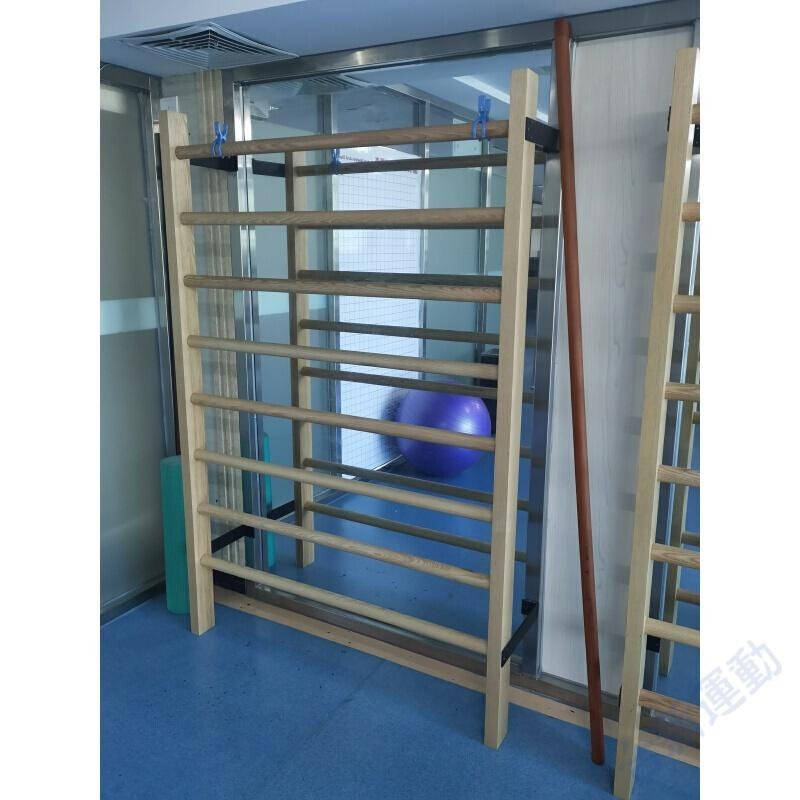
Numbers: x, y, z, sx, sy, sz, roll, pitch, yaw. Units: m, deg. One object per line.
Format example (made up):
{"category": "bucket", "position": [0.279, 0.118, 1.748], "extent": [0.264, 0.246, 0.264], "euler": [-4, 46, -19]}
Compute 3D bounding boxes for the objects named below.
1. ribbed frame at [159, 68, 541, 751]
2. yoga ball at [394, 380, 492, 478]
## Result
{"category": "ribbed frame", "position": [-0.113, -0.020, 2.237], "extent": [1.210, 1.609, 0.608], "euler": [8, 15, 31]}
{"category": "yoga ball", "position": [0.135, 0.087, 2.667], "extent": [0.343, 0.360, 0.334], "euler": [0, 1, 0]}
